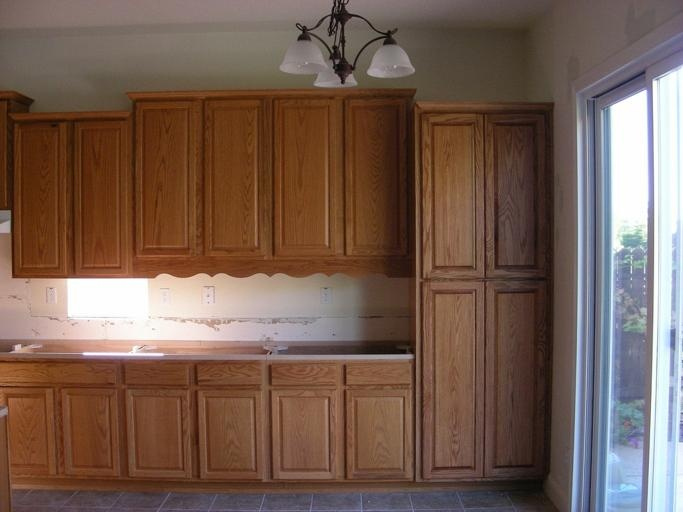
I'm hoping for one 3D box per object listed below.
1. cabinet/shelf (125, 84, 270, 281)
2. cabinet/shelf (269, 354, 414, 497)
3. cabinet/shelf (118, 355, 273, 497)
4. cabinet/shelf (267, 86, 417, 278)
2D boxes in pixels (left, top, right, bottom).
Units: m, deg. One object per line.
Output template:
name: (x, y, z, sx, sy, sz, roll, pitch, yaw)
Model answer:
cabinet/shelf: (-1.073, -0.567, 4.830, 1.473, 1.728, 0.680, 0, -4, -1)
cabinet/shelf: (0.003, 1.216, 4.721, 1.103, 0.859, 0.378, -1, 1, 3)
cabinet/shelf: (-1.064, 1.233, 4.748, 1.104, 0.872, 0.378, 0, -2, 0)
cabinet/shelf: (0.018, -0.606, 4.806, 1.513, 1.795, 0.648, 0, -3, 3)
